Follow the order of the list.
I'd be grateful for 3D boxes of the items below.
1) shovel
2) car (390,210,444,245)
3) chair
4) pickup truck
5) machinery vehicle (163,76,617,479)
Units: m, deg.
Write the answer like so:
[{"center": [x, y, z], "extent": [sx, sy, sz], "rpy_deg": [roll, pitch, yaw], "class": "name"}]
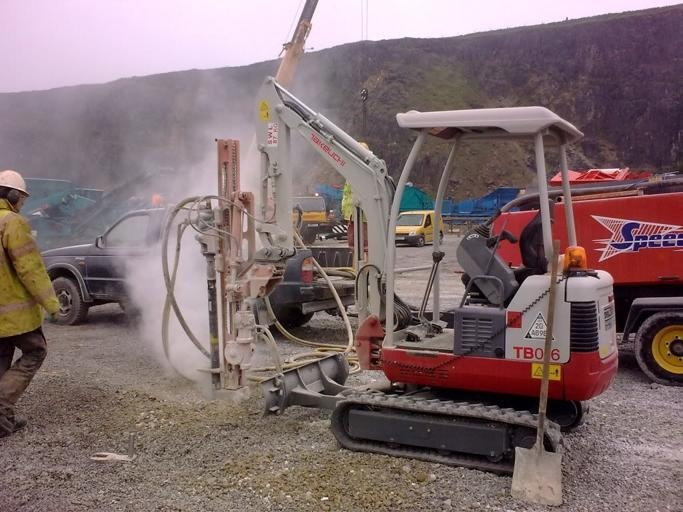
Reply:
[{"center": [1.535, 0.912, 4.247], "extent": [0.464, 1.857, 0.367], "rpy_deg": [-9, 13, -38], "class": "shovel"}, {"center": [3.061, -1.438, 24.249], "extent": [1.838, 1.718, 3.246], "rpy_deg": [-1, -1, 30], "class": "car"}, {"center": [1.436, -0.026, 5.193], "extent": [0.827, 0.972, 0.708], "rpy_deg": [9, -1, 7], "class": "chair"}, {"center": [-2.437, 0.140, 9.688], "extent": [4.510, 2.005, 2.232], "rpy_deg": [5, 7, 21], "class": "pickup truck"}, {"center": [0.138, 0.058, 5.680], "extent": [4.298, 3.133, 1.632], "rpy_deg": [1, 8, 22], "class": "machinery vehicle"}]
